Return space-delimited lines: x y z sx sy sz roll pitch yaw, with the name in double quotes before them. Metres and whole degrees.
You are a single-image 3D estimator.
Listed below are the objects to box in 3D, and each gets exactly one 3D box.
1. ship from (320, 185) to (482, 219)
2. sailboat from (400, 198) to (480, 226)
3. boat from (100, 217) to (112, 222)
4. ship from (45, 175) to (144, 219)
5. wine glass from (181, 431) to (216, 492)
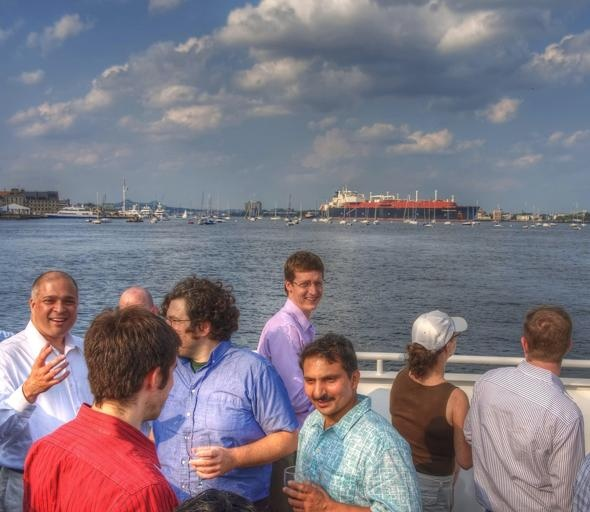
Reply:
"ship" 19.018 -10.203 161.835 29.010 7.461 5.902 1 -6 13
"sailboat" 25.186 -7.591 149.564 11.102 4.244 14.623 -2 4 -41
"boat" -34.179 -6.433 148.753 1.891 0.609 1.893 0 -1 3
"ship" -46.248 -10.429 170.858 25.936 12.202 6.412 -1 26 20
"wine glass" -0.546 1.096 4.419 0.199 0.258 0.276 0 -7 3
